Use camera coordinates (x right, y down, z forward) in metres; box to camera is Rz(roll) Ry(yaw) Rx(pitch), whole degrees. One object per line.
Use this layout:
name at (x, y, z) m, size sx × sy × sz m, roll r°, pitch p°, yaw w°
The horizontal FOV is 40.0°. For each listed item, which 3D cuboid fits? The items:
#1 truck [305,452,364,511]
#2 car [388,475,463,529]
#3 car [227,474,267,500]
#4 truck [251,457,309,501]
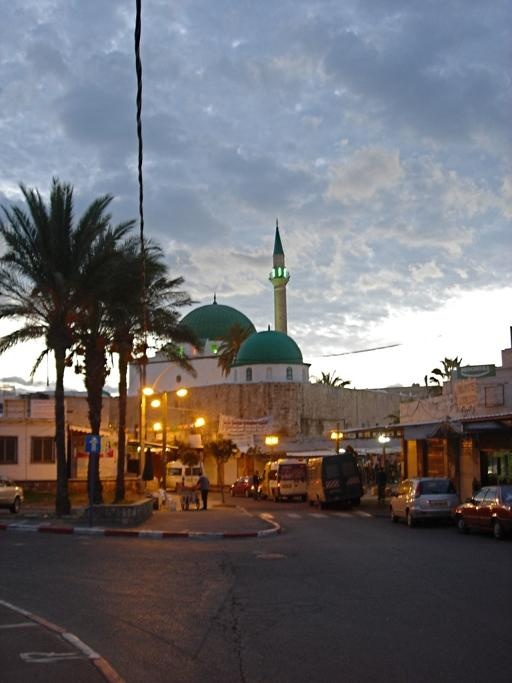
truck at (3.382, 5.921, 30.193) m, size 1.473 × 2.059 × 3.305 m, roll -2°, pitch -7°, yaw -5°
car at (4.674, 4.628, 20.162) m, size 1.054 × 1.079 × 1.970 m, roll 0°, pitch -6°, yaw -6°
car at (-0.605, 9.661, 46.500) m, size 1.371 × 1.398 × 2.442 m, roll 4°, pitch -4°, yaw -30°
truck at (1.548, 7.670, 38.981) m, size 1.451 × 1.893 × 3.170 m, roll 2°, pitch -8°, yaw -11°
